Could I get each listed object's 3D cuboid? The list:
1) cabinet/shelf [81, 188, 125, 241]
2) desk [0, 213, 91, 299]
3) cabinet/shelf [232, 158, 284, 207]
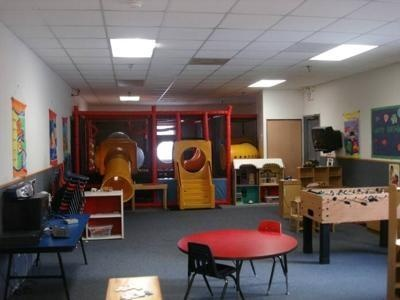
[{"bbox_3d":[-2.218,1.472,7.305,1.158,1.184,0.396,0,-3,-8],"label":"cabinet/shelf"},{"bbox_3d":[-2.352,1.682,4.964,1.090,1.061,1.706,-1,4,-13],"label":"desk"},{"bbox_3d":[1.925,1.077,10.821,1.449,1.395,0.619,0,-2,-9],"label":"cabinet/shelf"}]
